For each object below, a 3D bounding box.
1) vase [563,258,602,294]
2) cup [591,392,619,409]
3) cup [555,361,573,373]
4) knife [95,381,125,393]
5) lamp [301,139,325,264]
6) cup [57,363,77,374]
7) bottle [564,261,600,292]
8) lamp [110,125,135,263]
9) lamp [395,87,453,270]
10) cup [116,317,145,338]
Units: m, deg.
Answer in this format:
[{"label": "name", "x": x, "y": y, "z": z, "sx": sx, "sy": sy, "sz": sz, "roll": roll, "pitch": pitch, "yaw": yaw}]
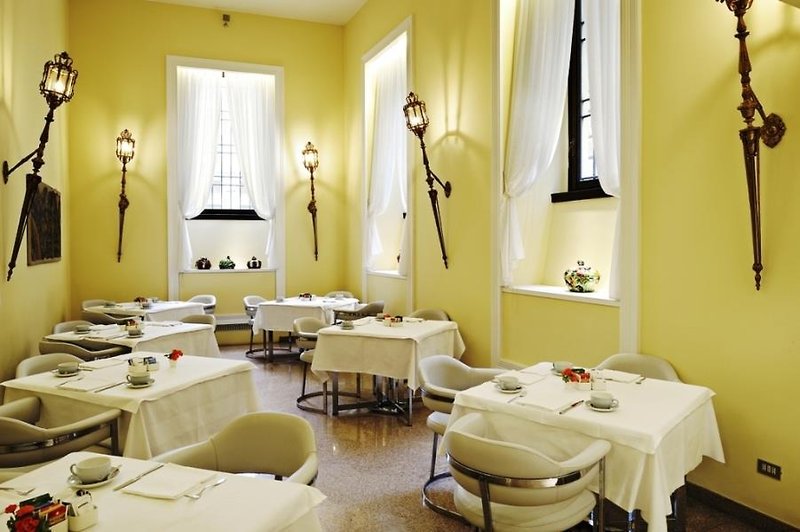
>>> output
[{"label": "vase", "x": 1.901, "y": 0.120, "z": 6.041, "sx": 0.304, "sy": 0.322, "sz": 0.321, "roll": 0, "pitch": -7, "yaw": 5}, {"label": "cup", "x": 1.461, "y": 0.974, "z": 4.134, "sx": 0.138, "sy": 0.069, "sz": 0.120, "roll": 2, "pitch": -1, "yaw": 17}, {"label": "cup", "x": 1.346, "y": 0.830, "z": 4.759, "sx": 0.097, "sy": 0.052, "sz": 0.092, "roll": -2, "pitch": -1, "yaw": 0}, {"label": "knife", "x": -2.269, "y": 0.949, "z": 4.495, "sx": 0.020, "sy": 0.017, "sz": 0.209, "roll": 13, "pitch": 11, "yaw": 17}, {"label": "lamp", "x": -1.561, "y": -1.087, "z": 9.997, "sx": 0.305, "sy": 2.013, "sz": 0.338, "roll": 0, "pitch": 4, "yaw": -11}, {"label": "cup", "x": -2.731, "y": 0.838, "z": 4.739, "sx": 0.088, "sy": 0.054, "sz": 0.113, "roll": -2, "pitch": -9, "yaw": 5}, {"label": "bottle", "x": 1.887, "y": 0.129, "z": 6.016, "sx": 0.295, "sy": 0.313, "sz": 0.309, "roll": 1, "pitch": -6, "yaw": -10}, {"label": "lamp", "x": -4.341, "y": -1.089, "z": 9.116, "sx": 0.312, "sy": 2.111, "sz": 0.445, "roll": -1, "pitch": 4, "yaw": -26}, {"label": "lamp", "x": 0.255, "y": -1.071, "z": 7.360, "sx": 0.624, "sy": 2.197, "sz": 0.709, "roll": -1, "pitch": 4, "yaw": -23}, {"label": "cup", "x": -2.850, "y": 0.651, "z": 6.130, "sx": 0.246, "sy": 0.151, "sz": 0.419, "roll": 1, "pitch": 0, "yaw": -38}]
